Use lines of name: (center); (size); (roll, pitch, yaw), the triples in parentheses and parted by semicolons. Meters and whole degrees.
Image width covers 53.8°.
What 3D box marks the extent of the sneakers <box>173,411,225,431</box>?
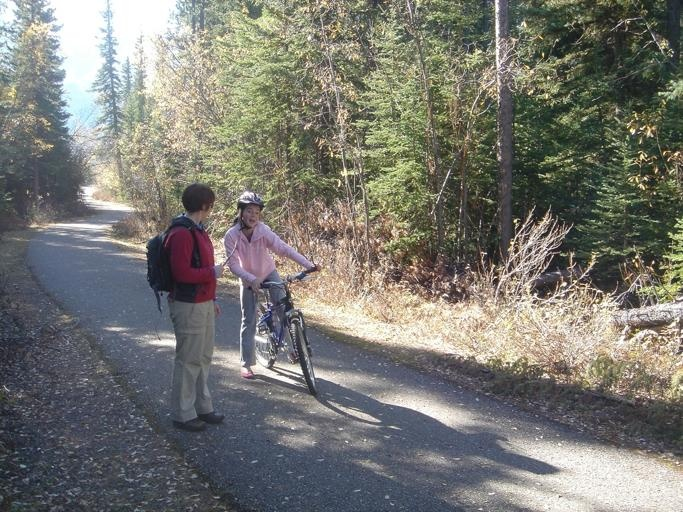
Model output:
sneakers: (-2.034, 2.286, 9.593); (0.654, 0.306, 0.253); (-10, 9, -23)

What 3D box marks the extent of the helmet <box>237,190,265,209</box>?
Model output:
helmet: (-1.448, -0.900, 10.731); (0.362, 0.247, 0.331); (6, 11, 7)

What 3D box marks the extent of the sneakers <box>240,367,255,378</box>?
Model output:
sneakers: (-1.544, 1.923, 11.043); (0.115, 0.105, 0.246); (3, -19, -31)

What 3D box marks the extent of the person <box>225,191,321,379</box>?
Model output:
person: (-1.347, 0.479, 10.945); (1.148, 3.007, 0.806); (4, 11, -3)
